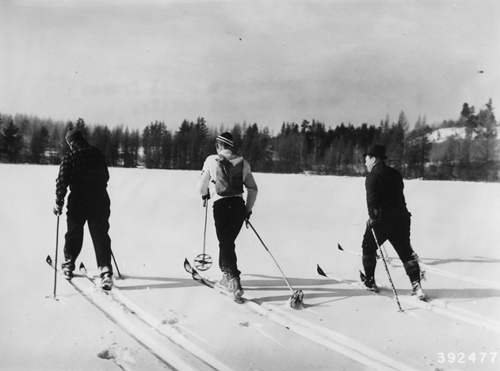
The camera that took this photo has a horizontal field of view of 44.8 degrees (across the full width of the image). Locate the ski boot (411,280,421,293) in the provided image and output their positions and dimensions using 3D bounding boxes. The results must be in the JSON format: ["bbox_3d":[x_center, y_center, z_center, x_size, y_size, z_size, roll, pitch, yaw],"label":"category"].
[{"bbox_3d":[2.991,1.809,10.923,0.175,0.251,0.114,3,5,19],"label":"ski boot"}]

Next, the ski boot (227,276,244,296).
[{"bbox_3d":[-0.285,1.775,10.795,0.401,0.380,0.203,5,6,37],"label":"ski boot"}]

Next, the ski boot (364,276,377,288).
[{"bbox_3d":[2.224,1.773,11.169,0.207,0.257,0.137,-2,-1,24],"label":"ski boot"}]

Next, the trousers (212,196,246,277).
[{"bbox_3d":[-0.378,0.885,10.770,0.578,1.419,0.271,1,5,-1],"label":"trousers"}]

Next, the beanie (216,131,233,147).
[{"bbox_3d":[-0.453,-0.849,10.906,0.272,0.169,0.212,30,11,10],"label":"beanie"}]

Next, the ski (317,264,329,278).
[{"bbox_3d":[1.396,1.705,11.916,0.072,0.367,0.066,-37,-5,-25],"label":"ski"}]

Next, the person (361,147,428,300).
[{"bbox_3d":[2.477,0.637,11.219,0.942,2.705,1.318,-1,5,-19],"label":"person"}]

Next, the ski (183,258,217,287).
[{"bbox_3d":[-0.966,1.680,11.587,0.620,0.186,0.112,32,-30,-6],"label":"ski"}]

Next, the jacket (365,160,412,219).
[{"bbox_3d":[2.444,0.143,10.849,0.507,1.262,0.605,-3,8,-19],"label":"jacket"}]

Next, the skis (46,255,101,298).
[{"bbox_3d":[-3.228,1.679,10.969,0.138,0.125,1.305,0,26,-46],"label":"skis"}]

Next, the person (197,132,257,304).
[{"bbox_3d":[-0.422,0.534,10.975,0.918,2.955,0.700,3,5,26],"label":"person"}]

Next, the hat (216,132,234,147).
[{"bbox_3d":[-0.451,-0.814,10.835,0.267,0.194,0.210,27,1,-1],"label":"hat"}]

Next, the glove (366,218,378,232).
[{"bbox_3d":[2.184,0.691,10.887,0.143,0.223,0.072,3,24,-33],"label":"glove"}]

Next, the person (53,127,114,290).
[{"bbox_3d":[-2.963,0.400,10.810,1.001,2.819,0.558,1,5,-4],"label":"person"}]

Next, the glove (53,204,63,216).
[{"bbox_3d":[-3.383,0.424,10.622,0.114,0.193,0.058,1,5,-8],"label":"glove"}]

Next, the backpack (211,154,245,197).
[{"bbox_3d":[-0.407,-0.182,10.783,0.571,0.740,0.247,1,5,-2],"label":"backpack"}]

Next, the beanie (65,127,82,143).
[{"bbox_3d":[-3.227,-0.967,10.956,0.256,0.297,0.208,-22,1,29],"label":"beanie"}]
